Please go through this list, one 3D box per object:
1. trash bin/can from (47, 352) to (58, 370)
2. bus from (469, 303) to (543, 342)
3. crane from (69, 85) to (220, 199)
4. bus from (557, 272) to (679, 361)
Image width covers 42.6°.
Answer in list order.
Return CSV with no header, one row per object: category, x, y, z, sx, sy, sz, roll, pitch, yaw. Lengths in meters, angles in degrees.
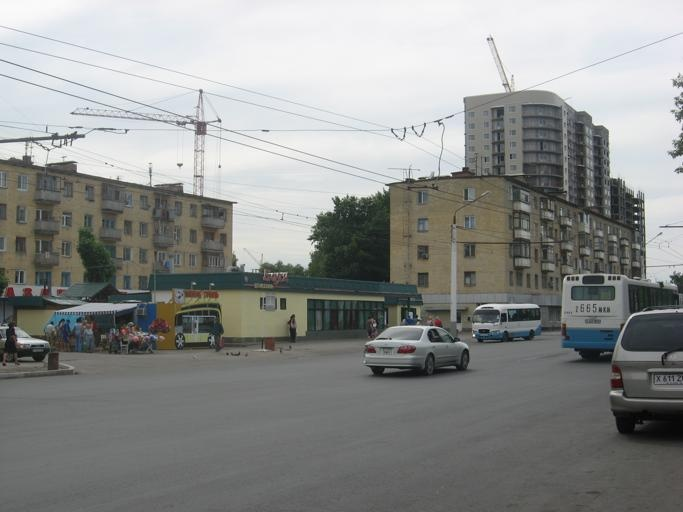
trash bin/can,-9.351,3.419,28.379,0.297,0.549,0.408,1,-5,-26
bus,11.538,4.447,59.306,2.733,2.559,8.140,-4,-6,32
crane,-4.556,-2.751,20.664,3.518,2.725,0.326,2,-6,-17
bus,10.150,1.937,32.993,3.076,3.644,11.692,-1,-2,28
